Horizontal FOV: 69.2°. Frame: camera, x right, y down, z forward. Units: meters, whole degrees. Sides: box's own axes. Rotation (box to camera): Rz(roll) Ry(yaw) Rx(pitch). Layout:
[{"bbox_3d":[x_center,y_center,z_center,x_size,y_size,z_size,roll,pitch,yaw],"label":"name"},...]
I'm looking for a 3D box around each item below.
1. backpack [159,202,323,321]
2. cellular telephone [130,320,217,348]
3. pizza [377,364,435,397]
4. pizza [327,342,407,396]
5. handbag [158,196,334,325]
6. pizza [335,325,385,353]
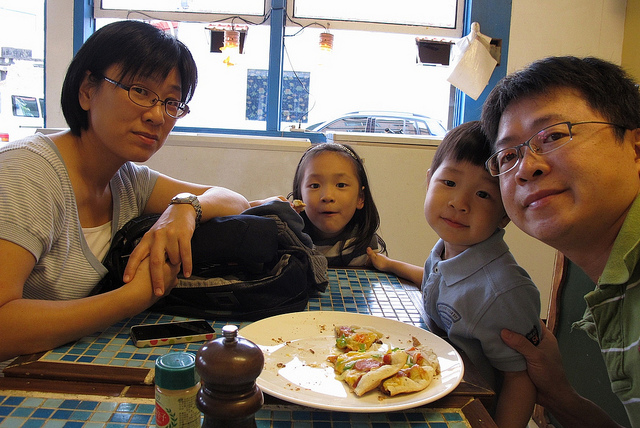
[{"bbox_3d":[-0.303,0.189,1.740,0.575,0.291,0.443,3,8,26],"label":"backpack"},{"bbox_3d":[-0.438,0.350,1.376,0.184,0.024,0.098,0,12,-16],"label":"cellular telephone"},{"bbox_3d":[0.237,0.442,1.241,0.163,0.049,0.056,-3,12,-22],"label":"pizza"},{"bbox_3d":[0.129,0.421,1.272,0.120,0.049,0.121,-8,8,17],"label":"pizza"},{"bbox_3d":[-0.266,0.195,1.743,0.584,0.293,0.449,-1,1,6],"label":"handbag"},{"bbox_3d":[0.114,0.378,1.414,0.086,0.026,0.086,-1,19,3],"label":"pizza"}]
